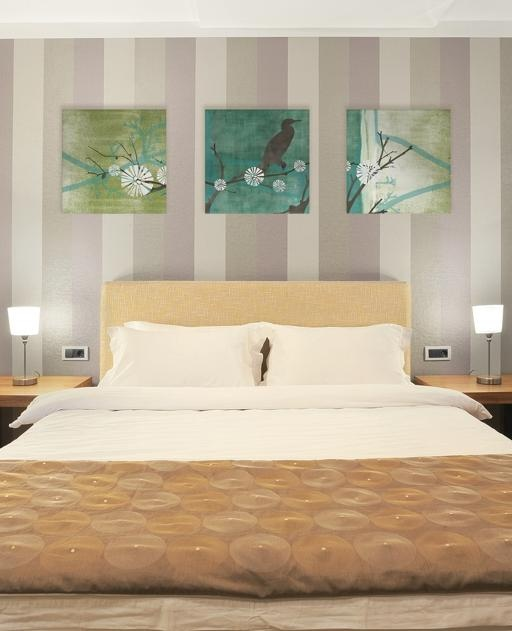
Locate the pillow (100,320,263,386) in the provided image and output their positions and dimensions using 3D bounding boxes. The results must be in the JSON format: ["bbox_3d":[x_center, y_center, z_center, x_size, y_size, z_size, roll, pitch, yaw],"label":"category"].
[{"bbox_3d":[-0.292,0.183,2.669,0.441,0.109,0.368,3,39,-3],"label":"pillow"}]
